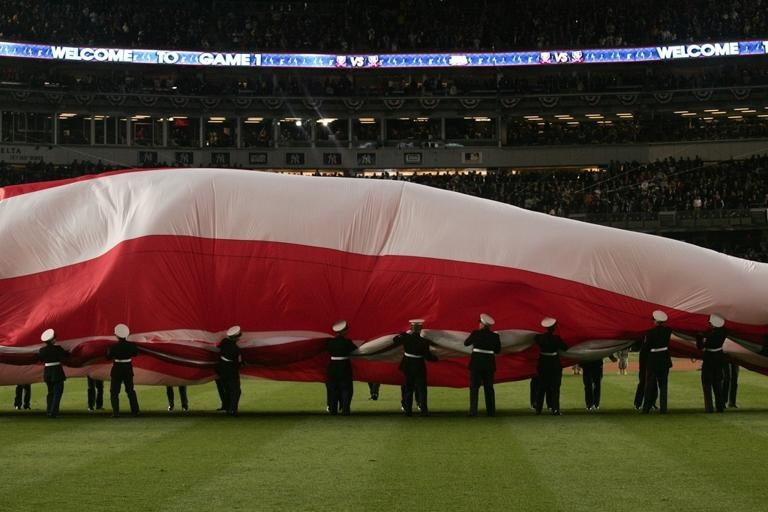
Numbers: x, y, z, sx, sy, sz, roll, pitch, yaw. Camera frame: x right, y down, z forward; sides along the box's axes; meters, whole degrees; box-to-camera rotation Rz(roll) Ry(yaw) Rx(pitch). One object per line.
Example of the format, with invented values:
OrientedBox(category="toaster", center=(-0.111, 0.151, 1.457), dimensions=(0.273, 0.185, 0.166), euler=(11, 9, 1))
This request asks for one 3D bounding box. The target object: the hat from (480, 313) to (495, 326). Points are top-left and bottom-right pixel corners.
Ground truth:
OrientedBox(category="hat", center=(3.352, 2.178, 39.860), dimensions=(0.428, 0.152, 0.374), euler=(19, 32, 12))

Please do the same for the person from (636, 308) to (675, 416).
OrientedBox(category="person", center=(9.026, 3.555, 40.191), dimensions=(0.986, 3.363, 1.138), euler=(1, 0, 11))

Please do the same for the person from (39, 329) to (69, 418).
OrientedBox(category="person", center=(-11.006, 3.938, 39.724), dimensions=(1.135, 2.698, 0.882), euler=(3, -11, -33))

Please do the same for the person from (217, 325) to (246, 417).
OrientedBox(category="person", center=(-5.137, 3.887, 40.292), dimensions=(1.229, 2.681, 1.147), euler=(-1, 4, -30))

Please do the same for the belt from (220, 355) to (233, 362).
OrientedBox(category="belt", center=(-5.308, 3.462, 39.925), dimensions=(0.545, 0.111, 0.100), euler=(10, -1, 32))

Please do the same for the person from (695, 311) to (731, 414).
OrientedBox(category="person", center=(10.804, 3.651, 40.330), dimensions=(1.200, 3.327, 0.959), euler=(7, -3, -26))

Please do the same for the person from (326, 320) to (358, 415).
OrientedBox(category="person", center=(-1.557, 3.836, 40.007), dimensions=(1.361, 2.683, 1.039), euler=(-3, -4, -1))

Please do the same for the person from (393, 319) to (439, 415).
OrientedBox(category="person", center=(1.091, 3.786, 40.075), dimensions=(1.562, 3.095, 1.102), euler=(1, -1, 31))
